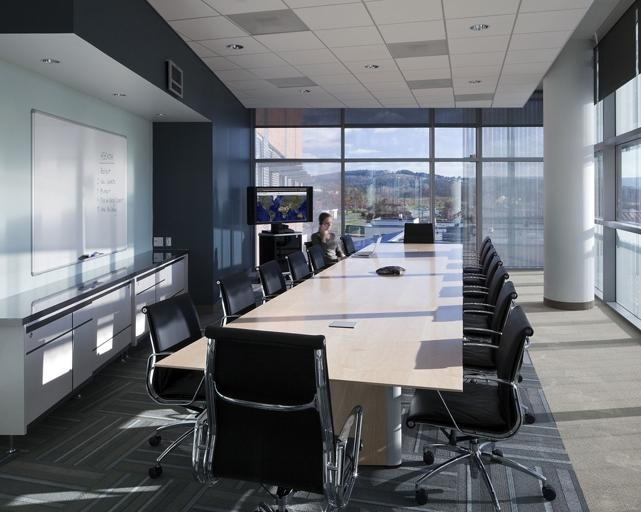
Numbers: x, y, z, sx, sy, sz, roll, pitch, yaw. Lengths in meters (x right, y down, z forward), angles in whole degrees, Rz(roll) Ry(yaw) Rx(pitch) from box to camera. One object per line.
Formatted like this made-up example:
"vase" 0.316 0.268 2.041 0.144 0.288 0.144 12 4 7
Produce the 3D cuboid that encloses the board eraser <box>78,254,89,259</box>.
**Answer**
"board eraser" -2.595 0.012 5.091 0.037 0.035 0.072 4 9 10

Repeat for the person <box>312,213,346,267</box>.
"person" 0.154 -0.124 7.060 0.431 1.021 0.533 0 -4 -37
